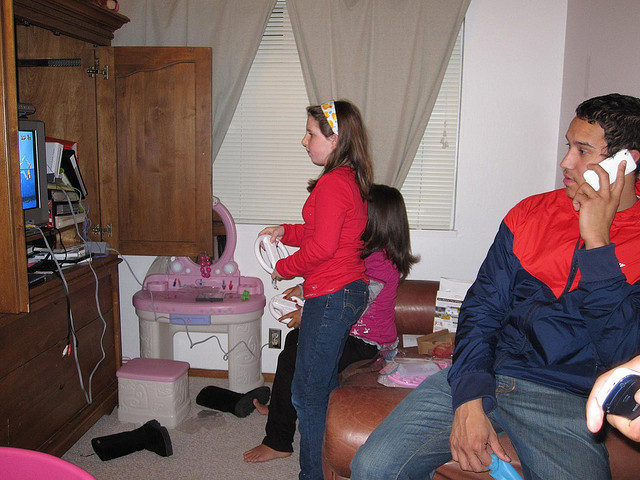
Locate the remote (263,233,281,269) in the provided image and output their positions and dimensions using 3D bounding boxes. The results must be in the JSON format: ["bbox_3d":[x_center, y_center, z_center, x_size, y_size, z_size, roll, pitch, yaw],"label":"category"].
[{"bbox_3d":[-0.287,0.061,2.917,0.042,0.183,0.185,-21,-29,-3],"label":"remote"}]

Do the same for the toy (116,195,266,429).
[{"bbox_3d":[-0.767,0.414,3.017,0.846,1.320,0.750,1,13,-7],"label":"toy"}]

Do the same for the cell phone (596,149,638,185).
[{"bbox_3d":[1.010,-0.270,1.672,0.158,0.093,0.038,-42,-17,31],"label":"cell phone"}]

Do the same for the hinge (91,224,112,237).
[{"bbox_3d":[-1.272,-0.066,2.881,0.075,0.080,0.024,-1,9,-7],"label":"hinge"}]

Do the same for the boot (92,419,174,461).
[{"bbox_3d":[-0.952,1.060,2.489,0.279,0.124,0.195,-10,28,-41],"label":"boot"}]

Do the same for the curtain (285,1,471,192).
[{"bbox_3d":[0.365,-0.996,2.948,1.275,1.760,0.113,1,2,4],"label":"curtain"}]

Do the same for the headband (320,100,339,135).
[{"bbox_3d":[0.042,-0.591,2.194,0.052,0.128,0.099,-23,-4,-2],"label":"headband"}]

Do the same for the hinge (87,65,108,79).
[{"bbox_3d":[-1.252,-1.026,2.764,0.088,0.067,0.033,1,17,-11],"label":"hinge"}]

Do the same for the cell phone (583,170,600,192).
[{"bbox_3d":[0.936,-0.220,1.683,0.020,0.075,0.054,-8,-17,-46],"label":"cell phone"}]
